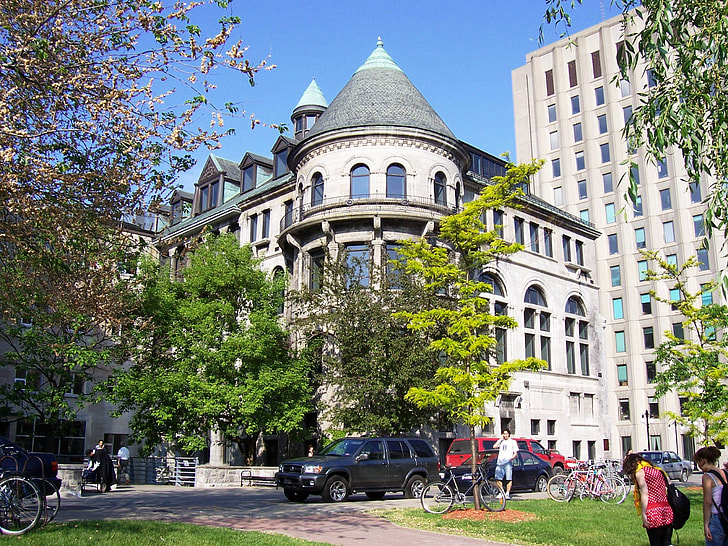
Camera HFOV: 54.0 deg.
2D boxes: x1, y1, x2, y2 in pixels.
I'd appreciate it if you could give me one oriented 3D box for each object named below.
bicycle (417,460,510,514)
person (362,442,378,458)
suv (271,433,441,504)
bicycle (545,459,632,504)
[{"bbox_3d":[2.884,6.540,21.263,2.826,1.593,1.454,-2,-38,0],"label":"bicycle"},{"bbox_3d":[0.322,6.133,24.856,0.594,0.449,0.853,4,-4,1],"label":"person"},{"bbox_3d":[-0.114,6.747,24.895,5.395,2.397,1.444,11,-22,-26],"label":"suv"},{"bbox_3d":[7.803,7.433,24.967,2.580,1.557,1.338,3,-47,5],"label":"bicycle"}]
